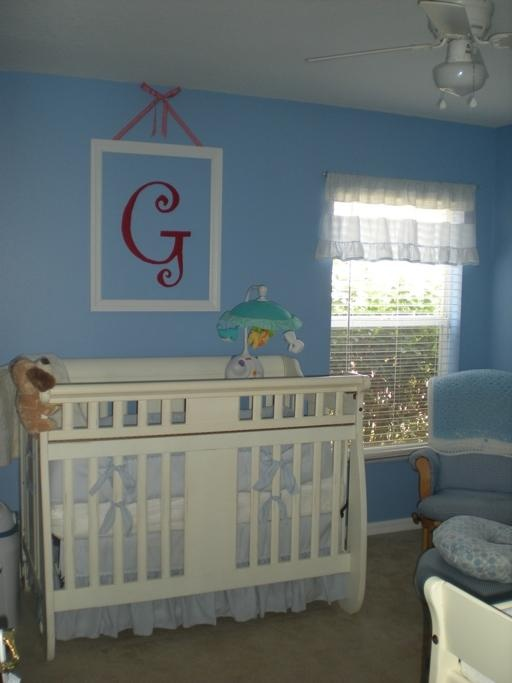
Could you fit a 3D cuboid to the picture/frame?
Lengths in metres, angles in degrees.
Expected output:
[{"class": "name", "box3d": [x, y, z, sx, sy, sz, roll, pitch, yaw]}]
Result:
[{"class": "picture/frame", "box3d": [-0.474, -0.539, 2.908, 0.798, 0.995, 0.025, 0, 3, -22]}]

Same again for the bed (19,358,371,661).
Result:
[{"class": "bed", "box3d": [-0.270, 0.550, 2.577, 1.334, 1.017, 0.897, -1, 0, -21]}]

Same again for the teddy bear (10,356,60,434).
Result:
[{"class": "teddy bear", "box3d": [-0.686, 0.164, 2.001, 0.132, 0.239, 0.124, 0, 5, -20]}]
